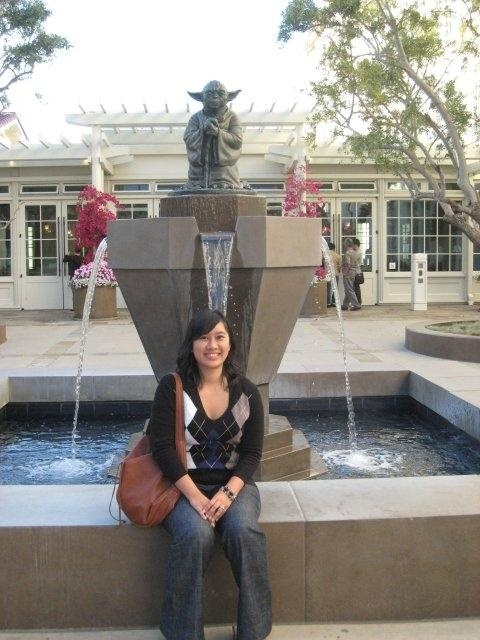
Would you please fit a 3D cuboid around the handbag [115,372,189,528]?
[{"bbox_3d":[-0.268,0.394,1.880,0.207,0.424,0.245,-2,4,-6],"label":"handbag"}]

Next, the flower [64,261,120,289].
[{"bbox_3d":[-2.464,-0.755,10.205,1.033,0.588,1.071,0,2,-23],"label":"flower"}]

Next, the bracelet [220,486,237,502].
[{"bbox_3d":[-0.034,0.509,1.819,0.013,0.036,0.035,-34,3,1],"label":"bracelet"}]
